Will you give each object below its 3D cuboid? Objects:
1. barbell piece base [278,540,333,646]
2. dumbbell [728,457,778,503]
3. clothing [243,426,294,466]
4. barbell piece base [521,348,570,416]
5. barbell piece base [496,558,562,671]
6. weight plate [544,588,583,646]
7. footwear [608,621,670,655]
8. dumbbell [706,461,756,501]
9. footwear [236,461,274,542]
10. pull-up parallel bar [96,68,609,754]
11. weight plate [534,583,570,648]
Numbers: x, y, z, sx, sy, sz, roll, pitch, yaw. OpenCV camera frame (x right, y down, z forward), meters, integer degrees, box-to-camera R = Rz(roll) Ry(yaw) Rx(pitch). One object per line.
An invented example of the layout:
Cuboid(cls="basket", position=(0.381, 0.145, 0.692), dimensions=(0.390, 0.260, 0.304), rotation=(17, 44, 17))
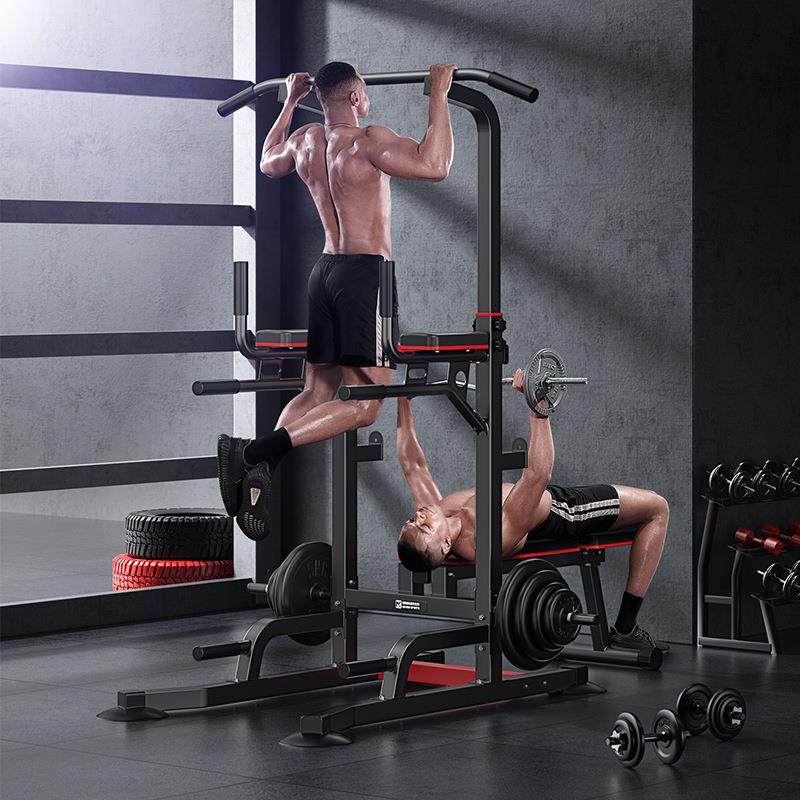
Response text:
Cuboid(cls="barbell piece base", position=(-0.365, 0.741, 3.960), dimensions=(0.216, 0.359, 0.227), rotation=(-6, 6, -16))
Cuboid(cls="dumbbell", position=(1.580, 0.377, 4.639), dimensions=(0.175, 0.081, 0.227), rotation=(-5, 7, -13))
Cuboid(cls="clothing", position=(-0.436, 0.166, 3.418), dimensions=(0.154, 0.085, 0.064), rotation=(-42, 30, -22))
Cuboid(cls="barbell piece base", position=(0.507, -0.090, 3.613), dimensions=(0.178, 0.244, 0.247), rotation=(6, 13, 42))
Cuboid(cls="barbell piece base", position=(0.439, 0.691, 3.433), dimensions=(0.176, 0.395, 0.185), rotation=(4, 7, 37))
Cuboid(cls="weight plate", position=(0.534, 0.715, 3.404), dimensions=(0.132, 0.132, 0.182), rotation=(0, -7, -16))
Cuboid(cls="footwear", position=(1.051, 0.995, 4.351), dimensions=(0.332, 0.142, 0.111), rotation=(4, -3, -14))
Cuboid(cls="dumbbell", position=(1.495, 0.390, 4.635), dimensions=(0.157, 0.120, 0.195), rotation=(13, -1, -29))
Cuboid(cls="footwear", position=(-0.488, 0.333, 3.471), dimensions=(0.119, 0.254, 0.106), rotation=(3, 5, -9))
Cuboid(cls="pull-up parallel bar", position=(-0.664, 0.112, 4.659), dimensions=(1.808, 3.135, 2.119), rotation=(-1, -2, 45))
Cuboid(cls="weight plate", position=(0.526, 0.713, 3.384), dimensions=(0.136, 0.137, 0.180), rotation=(-5, -4, -28))
